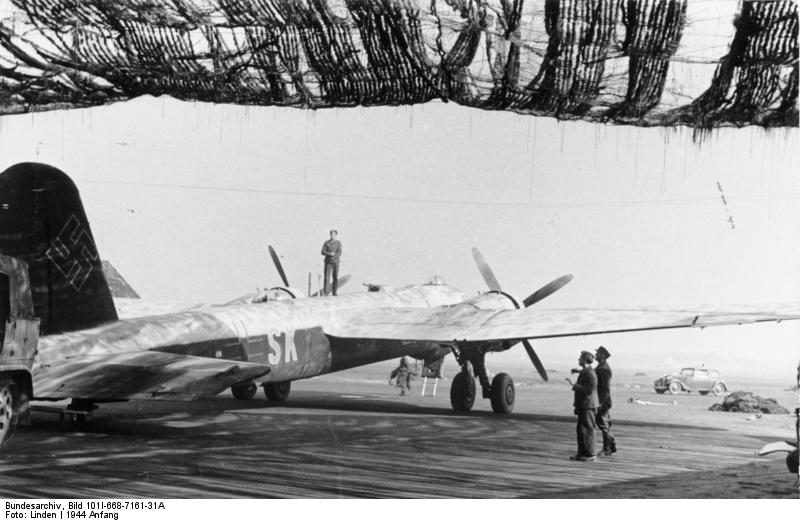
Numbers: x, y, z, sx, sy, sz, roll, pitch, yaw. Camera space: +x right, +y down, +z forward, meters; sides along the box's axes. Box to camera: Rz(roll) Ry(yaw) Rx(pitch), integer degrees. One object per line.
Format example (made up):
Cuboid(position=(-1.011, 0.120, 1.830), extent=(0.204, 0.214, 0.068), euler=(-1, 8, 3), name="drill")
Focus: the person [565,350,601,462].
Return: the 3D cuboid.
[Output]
Cuboid(position=(4.111, 3.197, 20.373), extent=(0.668, 1.737, 0.455), euler=(5, 3, -1), name="person")
